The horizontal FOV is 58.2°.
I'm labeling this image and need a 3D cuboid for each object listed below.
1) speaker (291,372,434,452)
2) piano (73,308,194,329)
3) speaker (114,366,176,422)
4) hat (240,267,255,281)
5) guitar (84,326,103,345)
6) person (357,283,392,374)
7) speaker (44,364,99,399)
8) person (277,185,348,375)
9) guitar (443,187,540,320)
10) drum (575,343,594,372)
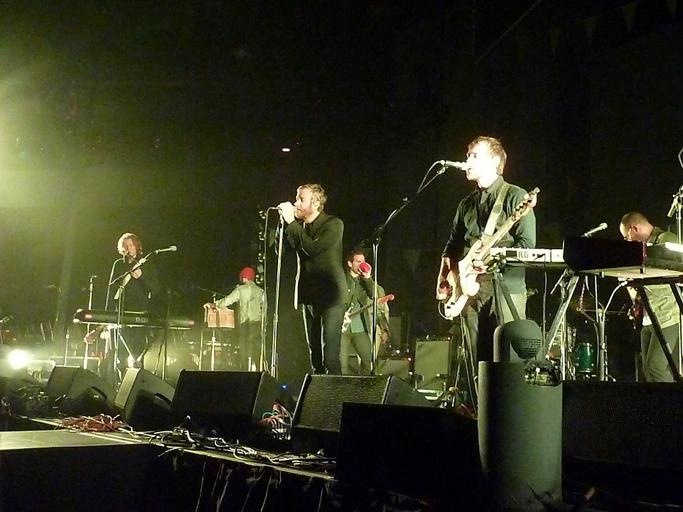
[{"bbox_3d":[0.073,0.906,3.742,0.551,0.454,0.695,15,-21,-37],"label":"speaker"},{"bbox_3d":[-2.386,0.727,7.110,1.255,0.215,0.458,7,-16,-17],"label":"piano"},{"bbox_3d":[-1.495,1.094,4.720,0.367,0.427,0.234,6,-14,-14],"label":"speaker"},{"bbox_3d":[-1.457,0.312,9.761,0.183,0.242,0.221,9,18,-29],"label":"hat"},{"bbox_3d":[-3.175,1.013,7.913,0.183,0.243,0.670,7,-16,-20],"label":"guitar"},{"bbox_3d":[0.442,0.914,7.758,0.283,1.056,0.590,6,0,-28],"label":"person"},{"bbox_3d":[-2.374,1.100,5.358,0.569,0.288,0.234,-8,-17,34],"label":"speaker"},{"bbox_3d":[-0.214,0.156,4.874,0.543,1.551,0.459,0,-14,9],"label":"person"},{"bbox_3d":[1.120,-0.064,4.729,0.433,0.968,0.974,4,-14,-10],"label":"guitar"},{"bbox_3d":[2.895,1.214,7.266,0.230,0.352,0.225,2,-14,0],"label":"drum"}]
